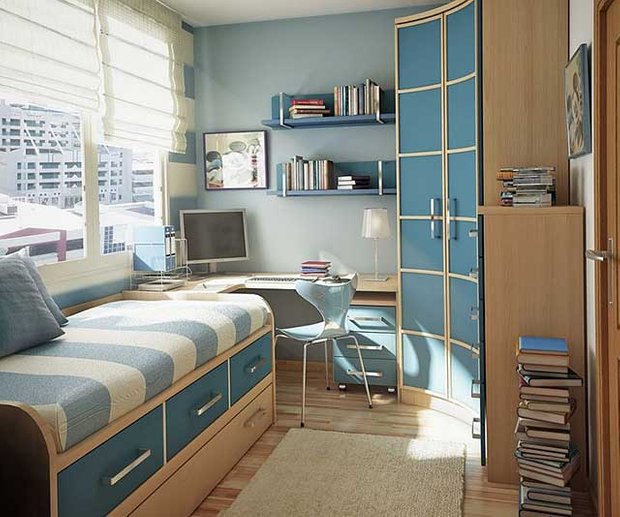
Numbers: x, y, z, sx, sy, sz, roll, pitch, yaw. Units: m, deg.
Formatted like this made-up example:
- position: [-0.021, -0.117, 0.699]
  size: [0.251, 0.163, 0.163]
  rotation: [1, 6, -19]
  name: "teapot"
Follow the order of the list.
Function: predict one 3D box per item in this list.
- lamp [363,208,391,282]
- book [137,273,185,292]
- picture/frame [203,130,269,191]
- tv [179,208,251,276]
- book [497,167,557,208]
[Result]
- position: [0.507, -0.113, 4.011]
  size: [0.199, 0.543, 0.370]
  rotation: [0, 7, 6]
  name: "lamp"
- position: [-1.071, 0.164, 3.619]
  size: [0.317, 0.104, 0.301]
  rotation: [1, 7, 10]
  name: "book"
- position: [-0.607, -0.849, 4.393]
  size: [0.497, 0.446, 0.022]
  rotation: [1, 6, 15]
  name: "picture/frame"
- position: [-0.796, -0.146, 4.230]
  size: [0.515, 0.538, 0.170]
  rotation: [-3, -2, -24]
  name: "tv"
- position: [1.109, -0.355, 2.600]
  size: [0.318, 0.238, 0.193]
  rotation: [0, 0, 14]
  name: "book"
